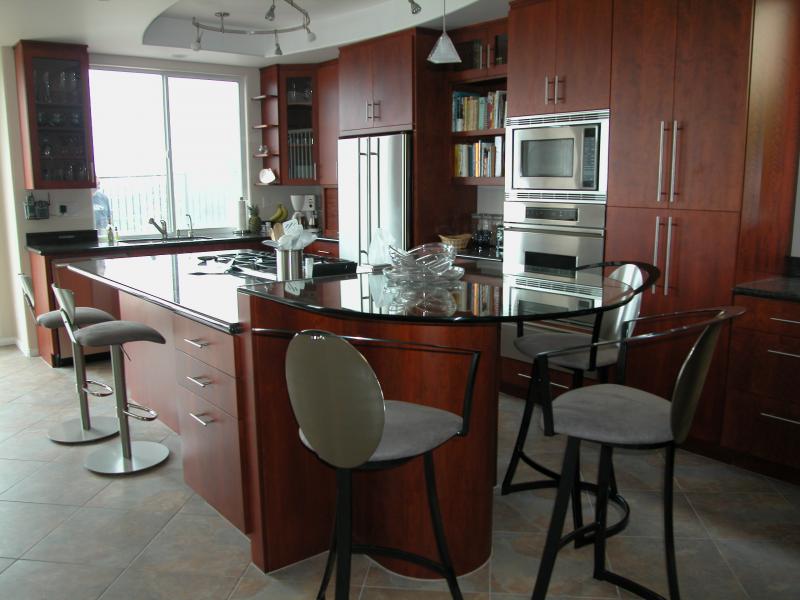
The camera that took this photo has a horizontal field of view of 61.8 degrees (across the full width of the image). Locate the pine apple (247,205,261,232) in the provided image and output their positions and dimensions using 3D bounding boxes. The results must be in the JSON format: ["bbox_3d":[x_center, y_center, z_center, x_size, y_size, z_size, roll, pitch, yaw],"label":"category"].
[{"bbox_3d":[-1.658,-0.929,7.591,0.134,0.307,0.189,-4,12,-10],"label":"pine apple"}]

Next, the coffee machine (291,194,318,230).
[{"bbox_3d":[-1.113,-1.047,7.823,0.248,0.398,0.424,-12,15,-39],"label":"coffee machine"}]

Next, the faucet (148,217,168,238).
[{"bbox_3d":[-2.549,-0.801,7.063,0.163,0.112,0.254,-5,35,-34],"label":"faucet"}]

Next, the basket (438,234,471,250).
[{"bbox_3d":[0.491,-0.532,5.979,0.303,0.126,0.289,-2,12,1],"label":"basket"}]

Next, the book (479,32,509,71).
[{"bbox_3d":[0.720,-2.038,5.457,0.125,0.271,0.299,-11,15,-36],"label":"book"}]

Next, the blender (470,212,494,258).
[{"bbox_3d":[0.766,-0.595,6.153,0.264,0.401,0.273,6,3,17],"label":"blender"}]

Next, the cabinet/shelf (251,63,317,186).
[{"bbox_3d":[-1.255,-1.996,7.384,1.163,1.233,0.346,-4,9,-26],"label":"cabinet/shelf"}]

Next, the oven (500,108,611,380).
[{"bbox_3d":[1.265,-0.432,5.101,0.655,1.834,0.844,-5,9,-42],"label":"oven"}]

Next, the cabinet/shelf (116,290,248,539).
[{"bbox_3d":[-1.194,0.657,3.699,0.398,0.634,1.171,-6,11,-41],"label":"cabinet/shelf"}]

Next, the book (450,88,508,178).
[{"bbox_3d":[0.665,-1.439,5.717,0.170,0.754,0.499,-4,7,-36],"label":"book"}]

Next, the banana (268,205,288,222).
[{"bbox_3d":[-1.420,-1.024,7.800,0.210,0.186,0.317,-4,12,-9],"label":"banana"}]

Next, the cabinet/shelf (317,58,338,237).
[{"bbox_3d":[-0.783,-1.645,7.220,0.156,1.825,0.364,-12,16,-39],"label":"cabinet/shelf"}]

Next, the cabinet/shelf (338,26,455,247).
[{"bbox_3d":[-0.042,-1.472,6.105,1.052,1.833,0.431,7,15,37],"label":"cabinet/shelf"}]
